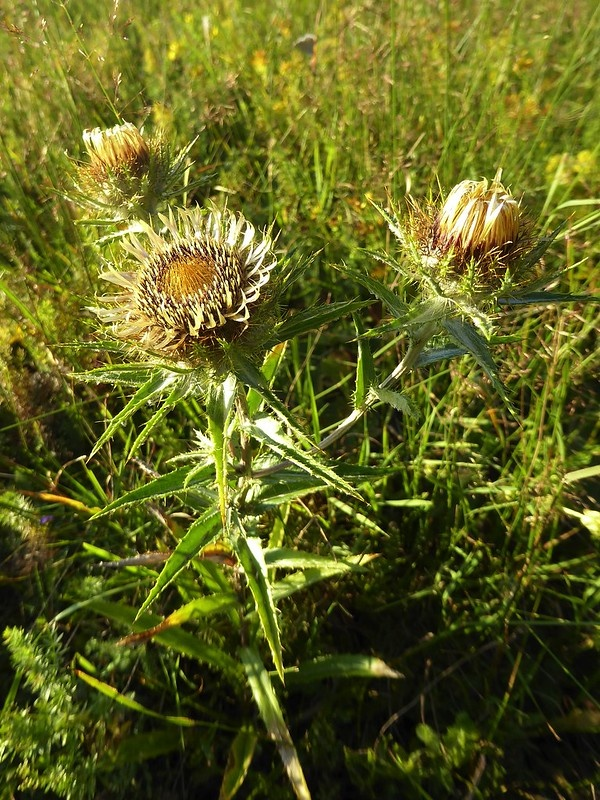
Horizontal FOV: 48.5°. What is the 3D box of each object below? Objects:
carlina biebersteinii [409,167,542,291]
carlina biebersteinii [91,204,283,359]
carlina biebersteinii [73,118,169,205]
[{"bbox_3d":[0.635,-0.618,2.520,0.436,0.459,0.466,-2,75,7],"label":"carlina biebersteinii"},{"bbox_3d":[-0.322,-0.341,2.340,0.577,0.263,0.616,11,61,26],"label":"carlina biebersteinii"},{"bbox_3d":[-0.762,-1.025,3.013,0.401,0.418,0.411,-8,35,-11],"label":"carlina biebersteinii"}]
